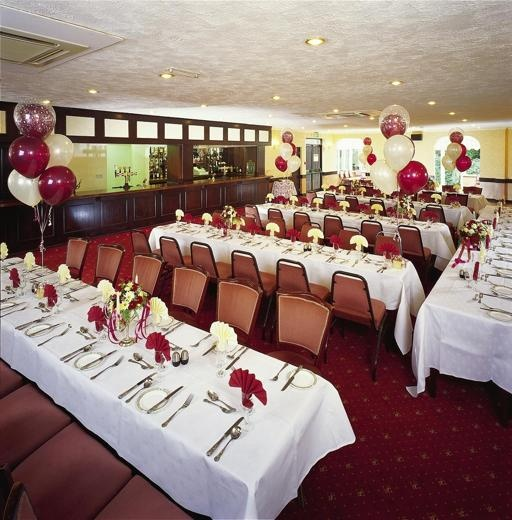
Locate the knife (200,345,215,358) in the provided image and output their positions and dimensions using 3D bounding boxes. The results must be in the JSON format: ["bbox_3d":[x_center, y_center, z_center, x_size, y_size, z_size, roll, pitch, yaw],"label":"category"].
[{"bbox_3d":[-0.319,0.605,2.414,0.026,0.022,0.189,13,22,20],"label":"knife"}]

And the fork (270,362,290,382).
[{"bbox_3d":[0.151,0.686,2.181,0.037,0.037,0.293,14,22,17],"label":"fork"}]

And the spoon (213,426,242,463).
[{"bbox_3d":[-0.124,0.830,1.626,0.039,0.033,0.208,9,23,15],"label":"spoon"}]

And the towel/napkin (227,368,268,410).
[{"bbox_3d":[-0.038,0.628,1.771,0.171,0.136,0.194,22,30,-3],"label":"towel/napkin"}]

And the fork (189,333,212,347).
[{"bbox_3d":[-0.392,0.538,2.541,0.044,0.035,0.316,3,10,17],"label":"fork"}]

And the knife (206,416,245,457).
[{"bbox_3d":[-0.140,0.813,1.660,0.046,0.020,0.383,21,12,14],"label":"knife"}]

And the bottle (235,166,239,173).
[{"bbox_3d":[-0.778,-3.813,15.015,0.281,0.274,0.058,-5,11,-13],"label":"bottle"}]

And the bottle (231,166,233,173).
[{"bbox_3d":[-1.007,-3.812,14.931,0.184,0.229,0.055,-12,14,-38],"label":"bottle"}]

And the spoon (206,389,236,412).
[{"bbox_3d":[-0.196,0.756,1.917,0.058,0.047,0.252,-7,16,-32],"label":"spoon"}]

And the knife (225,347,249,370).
[{"bbox_3d":[-0.119,0.630,2.340,0.041,0.023,0.395,4,14,17],"label":"knife"}]

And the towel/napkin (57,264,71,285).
[{"bbox_3d":[-1.901,0.142,3.512,0.054,0.165,0.114,-18,1,3],"label":"towel/napkin"}]

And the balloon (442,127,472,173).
[{"bbox_3d":[5.417,-2.949,9.523,0.757,1.233,1.092,1,-2,17],"label":"balloon"}]

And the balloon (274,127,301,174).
[{"bbox_3d":[0.815,-2.745,9.153,0.615,0.906,1.752,-1,12,6],"label":"balloon"}]

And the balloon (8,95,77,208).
[{"bbox_3d":[-2.052,-0.989,3.344,0.604,0.963,0.687,-8,13,-27],"label":"balloon"}]

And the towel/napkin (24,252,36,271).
[{"bbox_3d":[-2.595,0.021,4.061,0.059,0.244,0.177,-1,8,-24],"label":"towel/napkin"}]
